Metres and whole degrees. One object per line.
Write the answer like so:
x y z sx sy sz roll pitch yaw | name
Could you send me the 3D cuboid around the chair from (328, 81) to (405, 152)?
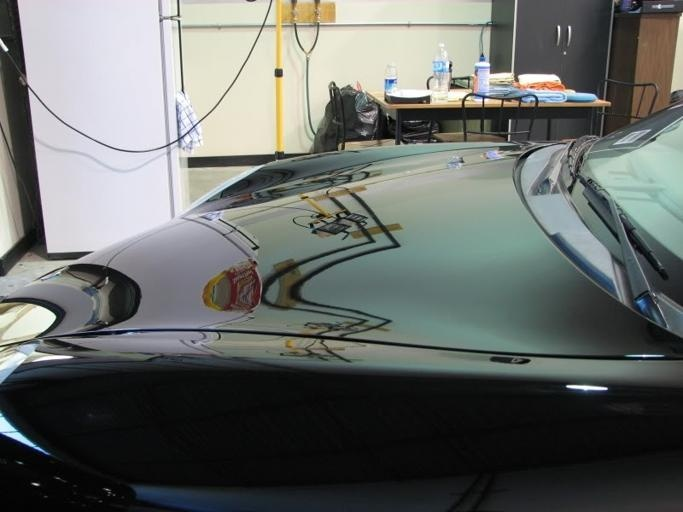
0.261 -1.520 4.982 0.549 0.606 0.561 -26 31 -13 | chair
